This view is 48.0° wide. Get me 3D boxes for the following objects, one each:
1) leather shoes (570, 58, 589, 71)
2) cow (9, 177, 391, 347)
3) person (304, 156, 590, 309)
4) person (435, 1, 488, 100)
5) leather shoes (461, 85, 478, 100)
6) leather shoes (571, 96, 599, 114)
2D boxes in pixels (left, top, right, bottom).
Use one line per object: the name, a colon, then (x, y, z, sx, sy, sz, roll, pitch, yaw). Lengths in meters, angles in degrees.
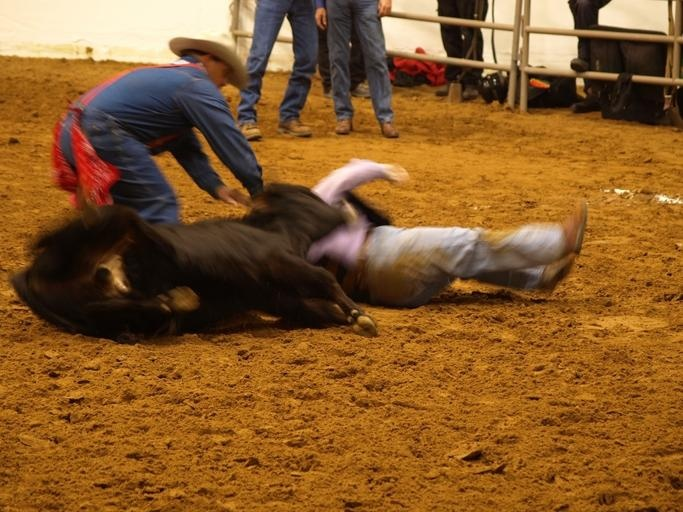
leather shoes: (2.974, -2.375, 9.577, 0.256, 0.062, 0.218, 11, -9, 29)
cow: (-0.831, 0.091, 3.879, 2.220, 0.625, 0.599, 2, -28, -16)
person: (0.869, -0.061, 4.058, 2.176, 0.563, 0.586, 1, -23, 7)
person: (1.698, -2.890, 10.811, 0.657, 1.401, 0.842, 0, 14, -18)
leather shoes: (1.803, -2.281, 10.759, 0.232, 0.208, 0.241, 4, 11, 5)
leather shoes: (3.210, -1.972, 10.072, 0.351, 0.232, 0.237, 5, 12, 13)
